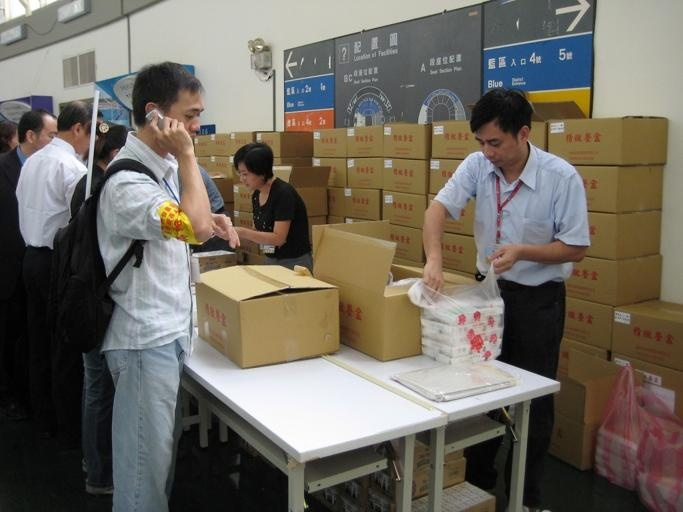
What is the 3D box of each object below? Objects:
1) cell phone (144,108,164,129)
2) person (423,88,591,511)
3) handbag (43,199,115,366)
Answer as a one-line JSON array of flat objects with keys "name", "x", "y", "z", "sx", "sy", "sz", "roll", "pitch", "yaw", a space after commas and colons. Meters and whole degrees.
[{"name": "cell phone", "x": -0.638, "y": -0.479, "z": 1.836, "sx": 0.061, "sy": 0.060, "sz": 0.061, "roll": 31, "pitch": 16, "yaw": 19}, {"name": "person", "x": 0.705, "y": 0.242, "z": 2.411, "sx": 0.659, "sy": 1.908, "sz": 0.509, "roll": 7, "pitch": 16, "yaw": 24}, {"name": "handbag", "x": -0.922, "y": 0.066, "z": 1.982, "sx": 0.294, "sy": 0.582, "sz": 0.362, "roll": -7, "pitch": 18, "yaw": -38}]
